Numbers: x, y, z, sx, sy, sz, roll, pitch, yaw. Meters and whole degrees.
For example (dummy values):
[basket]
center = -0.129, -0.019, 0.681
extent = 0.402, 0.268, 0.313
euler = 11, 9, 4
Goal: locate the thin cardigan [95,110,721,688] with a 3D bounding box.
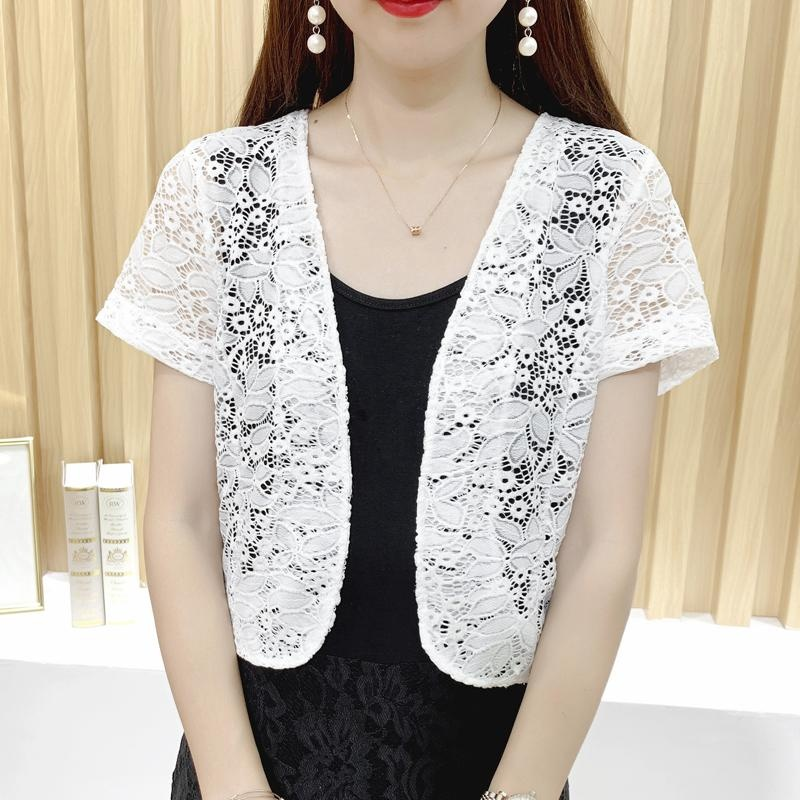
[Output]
[thin cardigan]
center = -0.065, -0.002, 0.930
extent = 0.892, 0.553, 0.276
euler = -1, 2, -4

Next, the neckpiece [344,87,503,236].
[neckpiece]
center = 0.027, -0.238, 0.875
extent = 0.242, 0.202, 0.022
euler = 0, -25, 6
